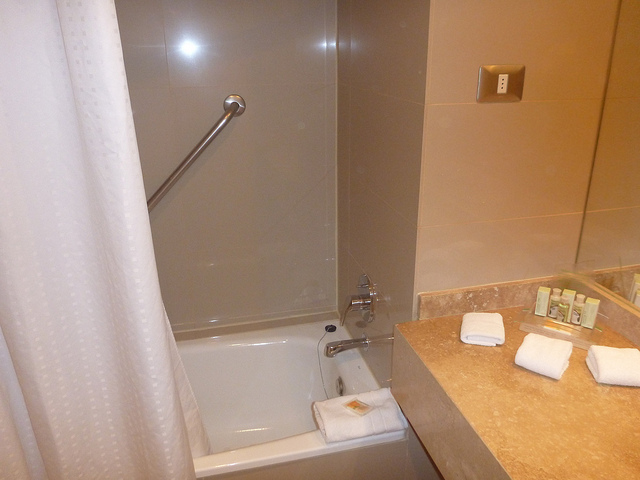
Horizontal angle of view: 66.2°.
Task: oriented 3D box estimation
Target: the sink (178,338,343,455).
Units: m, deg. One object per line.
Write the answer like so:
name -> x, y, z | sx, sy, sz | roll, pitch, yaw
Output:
sink -> -0.298, 0.787, 2.507 | 0.718, 0.286, 0.530 | -3, 49, -14

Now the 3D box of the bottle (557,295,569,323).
bottle -> 0.790, 0.226, 1.596 | 0.033, 0.087, 0.021 | 7, 19, 26

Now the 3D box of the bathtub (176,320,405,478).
bathtub -> -0.220, 0.639, 2.387 | 0.795, 0.284, 0.614 | -4, 48, -20

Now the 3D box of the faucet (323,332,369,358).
faucet -> 0.120, 0.478, 2.261 | 0.177, 0.082, 0.104 | -8, 23, -16

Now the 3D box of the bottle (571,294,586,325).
bottle -> 0.831, 0.226, 1.582 | 0.033, 0.093, 0.032 | -2, 17, 1
